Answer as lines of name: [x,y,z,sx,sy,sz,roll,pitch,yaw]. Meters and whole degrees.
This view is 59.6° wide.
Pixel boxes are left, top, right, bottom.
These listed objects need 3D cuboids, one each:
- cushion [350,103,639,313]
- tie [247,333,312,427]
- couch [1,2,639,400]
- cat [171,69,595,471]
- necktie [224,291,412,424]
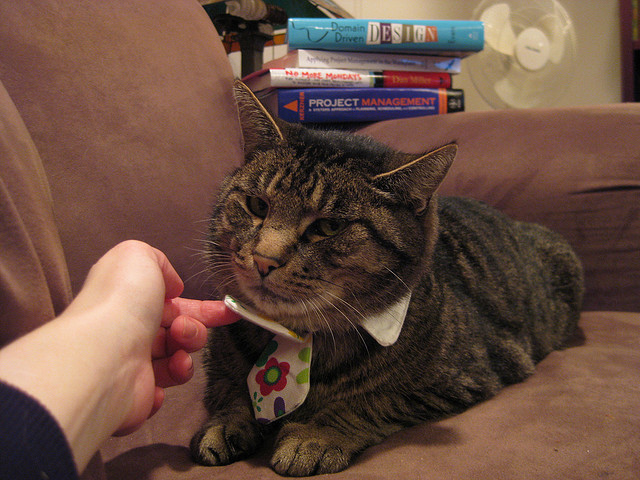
cushion: [0.660,-0.207,2.005,0.738,0.511,0.724,-5,9,-4]
tie: [-0.087,0.294,1.153,0.178,0.042,0.134,-50,43,3]
couch: [0.003,-0.083,1.373,0.955,0.757,1.265,0,0,44]
cat: [0.233,-0.039,1.427,0.709,0.609,1.149,10,17,31]
necktie: [-0.013,0.214,1.157,0.082,0.257,0.340,19,68,40]
